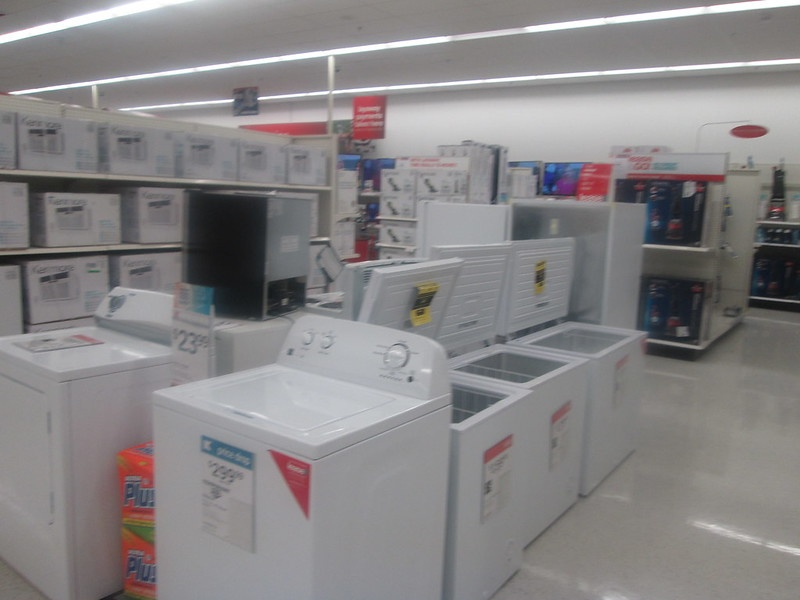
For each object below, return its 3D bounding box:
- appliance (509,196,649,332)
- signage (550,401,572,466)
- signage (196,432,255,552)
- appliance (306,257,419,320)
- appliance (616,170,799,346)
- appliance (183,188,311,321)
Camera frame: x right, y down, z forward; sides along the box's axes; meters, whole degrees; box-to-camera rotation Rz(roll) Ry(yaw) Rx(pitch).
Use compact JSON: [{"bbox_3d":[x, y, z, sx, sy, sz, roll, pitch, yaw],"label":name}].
[{"bbox_3d":[1.275,-0.141,4.611,0.752,0.884,0.573,-10,-24,43],"label":"appliance"},{"bbox_3d":[0.840,0.690,3.194,0.040,0.343,0.285,17,43,33],"label":"signage"},{"bbox_3d":[-0.594,0.665,2.092,0.268,0.355,0.051,6,13,29],"label":"signage"},{"bbox_3d":[-0.270,-0.120,3.191,0.417,0.319,0.589,14,18,38],"label":"appliance"},{"bbox_3d":[3.488,-0.497,6.869,1.479,1.968,2.504,10,15,40],"label":"appliance"},{"bbox_3d":[-0.799,-0.243,3.228,0.688,0.656,0.399,-3,11,-16],"label":"appliance"}]
